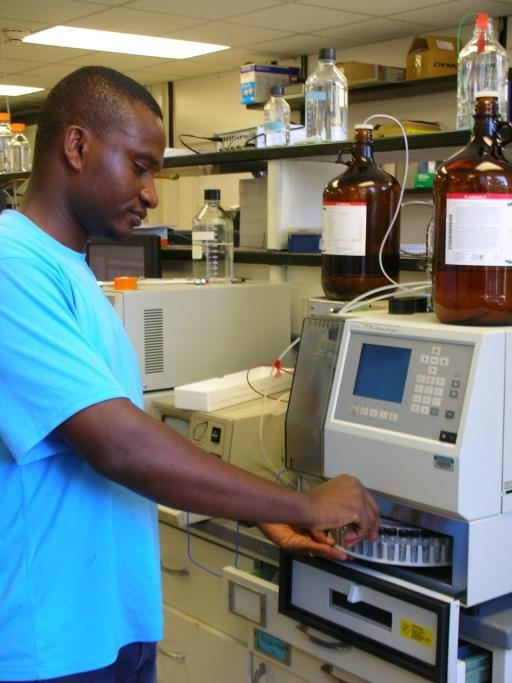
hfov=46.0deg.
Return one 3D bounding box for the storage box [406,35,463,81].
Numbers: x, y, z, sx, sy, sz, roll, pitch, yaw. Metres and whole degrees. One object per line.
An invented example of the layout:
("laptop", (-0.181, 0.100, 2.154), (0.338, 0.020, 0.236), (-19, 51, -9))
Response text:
("storage box", (1.419, -2.246, 4.792), (0.343, 0.307, 0.317), (-8, 20, -26))
